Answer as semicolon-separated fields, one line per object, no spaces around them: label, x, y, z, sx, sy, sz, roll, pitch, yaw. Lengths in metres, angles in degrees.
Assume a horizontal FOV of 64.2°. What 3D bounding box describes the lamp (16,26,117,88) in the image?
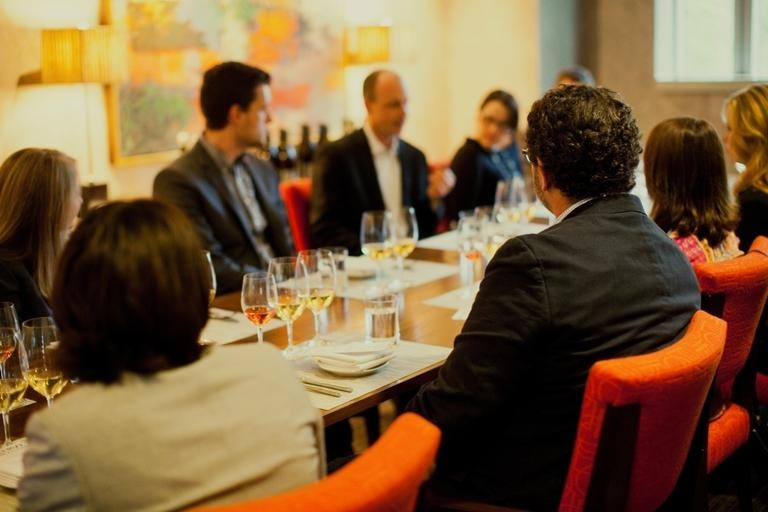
lamp;-1.666;-1.108;3.346;0.408;0.333;0.202;-8;9;-32

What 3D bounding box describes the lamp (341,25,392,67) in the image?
lamp;-0.138;-1.823;5.295;0.508;0.356;0.122;-9;10;-39

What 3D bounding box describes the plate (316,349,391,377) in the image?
plate;-0.078;0.298;1.698;0.224;0.067;0.061;-4;8;-8
